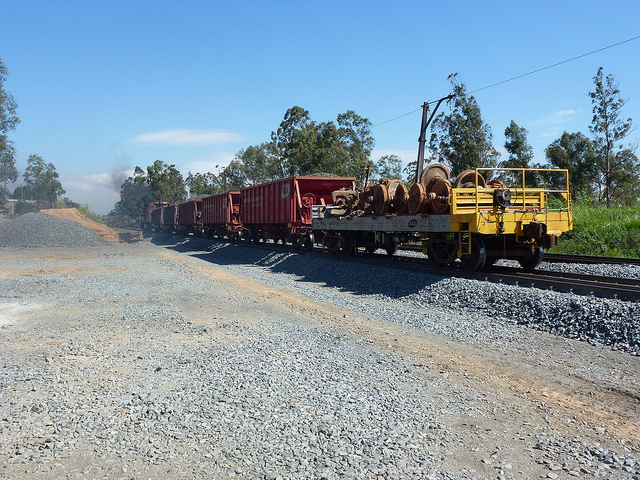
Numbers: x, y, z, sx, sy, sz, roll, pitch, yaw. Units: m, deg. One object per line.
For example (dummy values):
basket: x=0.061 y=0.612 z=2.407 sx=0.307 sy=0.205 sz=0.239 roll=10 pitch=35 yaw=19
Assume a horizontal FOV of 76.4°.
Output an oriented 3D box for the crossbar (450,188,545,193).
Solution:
crossbar: x=4.943 y=-1.400 z=11.443 sx=2.422 sy=0.161 sz=1.143 roll=1 pitch=6 yaw=0
